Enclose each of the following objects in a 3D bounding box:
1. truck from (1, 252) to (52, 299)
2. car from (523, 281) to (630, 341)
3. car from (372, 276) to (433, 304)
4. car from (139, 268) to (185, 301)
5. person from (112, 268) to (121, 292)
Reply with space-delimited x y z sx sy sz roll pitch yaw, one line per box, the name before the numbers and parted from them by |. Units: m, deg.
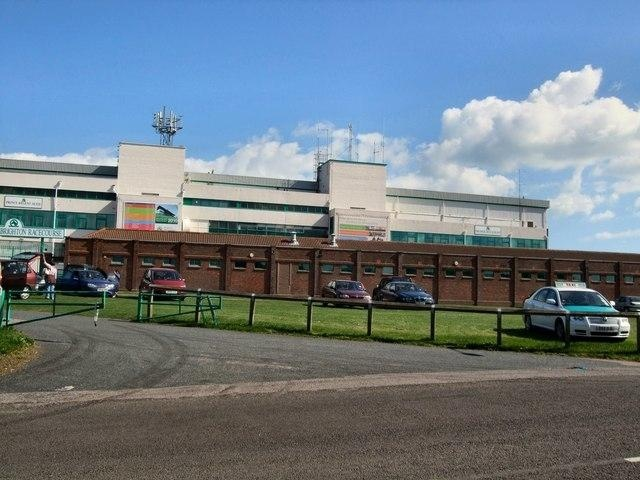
truck | -12.823 1.621 36.222 1.316 1.386 2.268 0 -8 -8
car | 8.298 2.524 26.685 2.939 1.660 3.677 2 6 12
car | 3.999 2.417 39.480 1.235 1.057 2.876 3 -9 -16
car | -6.610 2.032 35.311 1.618 1.420 2.696 3 -10 -22
person | -11.168 2.217 45.192 0.460 1.333 0.776 -1 4 -2
